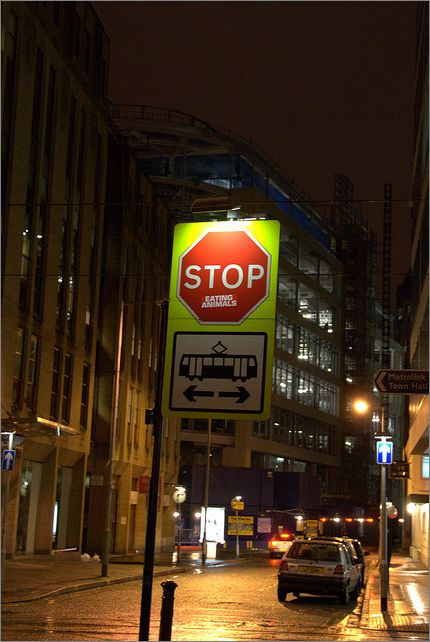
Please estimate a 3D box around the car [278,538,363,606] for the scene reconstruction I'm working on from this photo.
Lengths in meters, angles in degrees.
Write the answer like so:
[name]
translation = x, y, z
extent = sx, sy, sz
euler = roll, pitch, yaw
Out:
[car]
translation = 2.758, 6.271, 17.514
extent = 1.253, 0.982, 2.197
euler = -1, -5, 18
